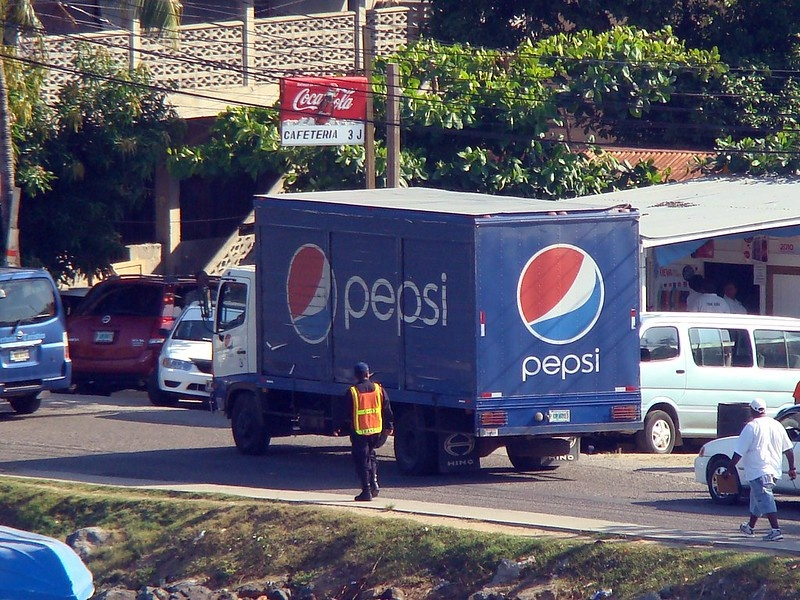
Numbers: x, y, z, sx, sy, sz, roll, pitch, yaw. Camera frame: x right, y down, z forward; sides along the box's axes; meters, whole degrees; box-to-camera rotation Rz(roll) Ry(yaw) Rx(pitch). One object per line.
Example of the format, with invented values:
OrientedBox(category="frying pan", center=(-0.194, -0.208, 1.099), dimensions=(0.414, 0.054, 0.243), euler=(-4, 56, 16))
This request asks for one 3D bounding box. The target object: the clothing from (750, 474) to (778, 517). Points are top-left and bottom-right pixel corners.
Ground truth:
OrientedBox(category="clothing", center=(6.030, 3.205, 28.934), dimensions=(0.378, 0.733, 0.711), euler=(-1, 1, -22))

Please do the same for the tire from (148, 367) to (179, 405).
OrientedBox(category="tire", center=(-5.142, 1.892, 38.284), dimensions=(0.235, 0.819, 0.724), euler=(4, -6, -44))

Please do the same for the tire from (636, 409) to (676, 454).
OrientedBox(category="tire", center=(5.092, 2.589, 34.435), dimensions=(0.862, 0.879, 0.176), euler=(-3, 8, -23))

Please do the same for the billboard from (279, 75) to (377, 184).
OrientedBox(category="billboard", center=(-1.767, -4.028, 41.757), dimensions=(2.387, 2.022, 1.395), euler=(0, -3, 7))

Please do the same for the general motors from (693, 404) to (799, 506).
OrientedBox(category="general motors", center=(6.163, 2.902, 31.066), dimensions=(2.131, 1.300, 1.102), euler=(2, 1, 27))

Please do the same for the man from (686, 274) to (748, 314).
OrientedBox(category="man", center=(7.234, -0.077, 39.714), dimensions=(0.679, 0.595, 1.627), euler=(-10, 4, 18))

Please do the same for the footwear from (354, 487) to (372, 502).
OrientedBox(category="footwear", center=(-0.594, 3.366, 30.432), dimensions=(0.393, 0.307, 0.142), euler=(2, 3, 12))

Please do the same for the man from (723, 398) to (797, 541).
OrientedBox(category="man", center=(6.052, 2.790, 29.049), dimensions=(0.911, 2.113, 1.042), euler=(2, 7, 13))

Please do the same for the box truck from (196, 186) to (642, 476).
OrientedBox(category="box truck", center=(0.521, 0.699, 32.568), dimensions=(7.820, 4.957, 2.209), euler=(4, 8, 26))

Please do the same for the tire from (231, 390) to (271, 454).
OrientedBox(category="tire", center=(-2.852, 2.341, 33.945), dimensions=(0.372, 1.272, 1.015), euler=(-2, 6, -39))

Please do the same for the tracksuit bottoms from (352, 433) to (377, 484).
OrientedBox(category="tracksuit bottoms", center=(-0.595, 2.778, 30.452), dimensions=(0.451, 0.909, 0.296), euler=(0, 7, -3))
